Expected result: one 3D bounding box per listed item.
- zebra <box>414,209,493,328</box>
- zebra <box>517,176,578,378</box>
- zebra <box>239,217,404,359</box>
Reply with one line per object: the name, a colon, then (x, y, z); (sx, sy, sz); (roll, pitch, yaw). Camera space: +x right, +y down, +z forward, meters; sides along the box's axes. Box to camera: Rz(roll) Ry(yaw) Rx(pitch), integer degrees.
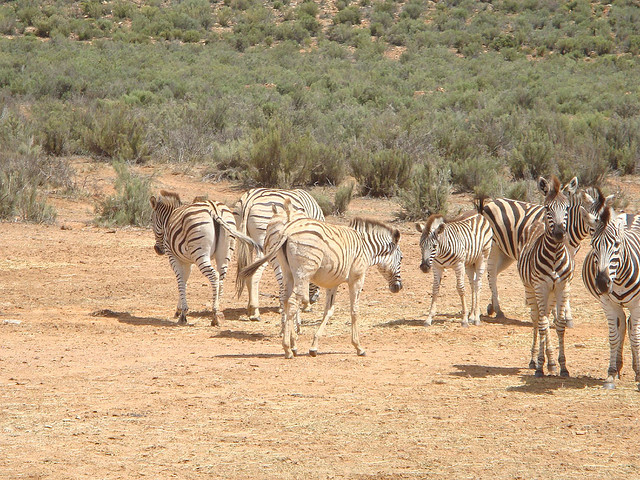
zebra: (2.375, 0.510, 16.426); (0.691, 2.061, 2.661); (5, 7, 34)
zebra: (3.440, 0.561, 13.993); (0.792, 2.970, 1.658); (-1, 1, 9)
zebra: (0.078, 0.752, 14.377); (3.239, 2.224, 0.830); (6, -2, -40)
